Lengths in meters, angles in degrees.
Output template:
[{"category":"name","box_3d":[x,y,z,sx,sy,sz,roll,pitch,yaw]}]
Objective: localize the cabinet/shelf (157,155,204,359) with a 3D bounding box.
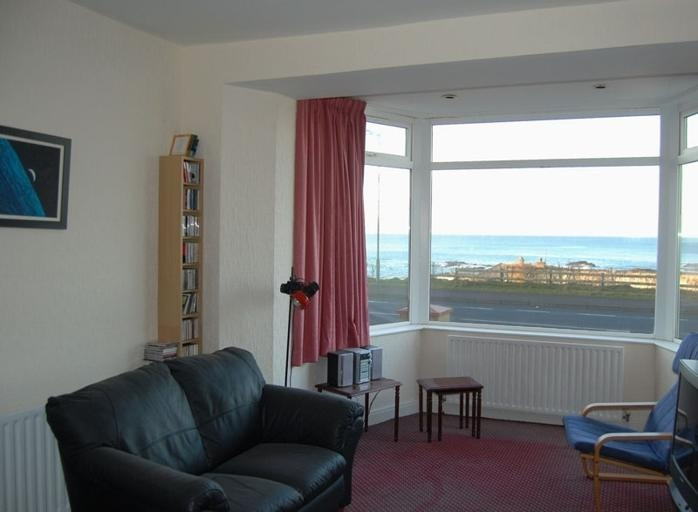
[{"category":"cabinet/shelf","box_3d":[-1.471,0.006,4.321,0.407,1.727,0.248,-1,6,-18]}]
